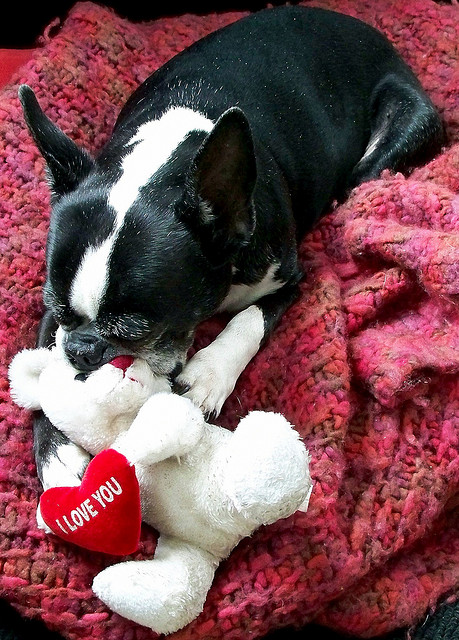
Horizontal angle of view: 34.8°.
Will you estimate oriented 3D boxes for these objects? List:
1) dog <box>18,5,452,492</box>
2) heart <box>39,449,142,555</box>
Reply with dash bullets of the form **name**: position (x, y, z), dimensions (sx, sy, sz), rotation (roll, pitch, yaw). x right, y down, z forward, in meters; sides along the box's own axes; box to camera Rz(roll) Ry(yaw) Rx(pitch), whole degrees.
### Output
- **dog**: position (0.067, -0.329, 1.843), dimensions (0.852, 0.608, 1.494), rotation (6, 39, 38)
- **heart**: position (-0.246, 0.320, 1.280), dimensions (0.180, 0.204, 0.172), rotation (-1, 73, -4)
